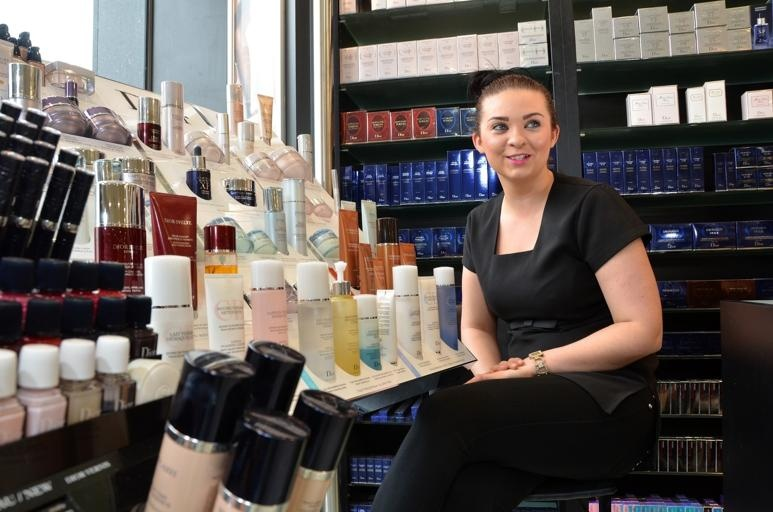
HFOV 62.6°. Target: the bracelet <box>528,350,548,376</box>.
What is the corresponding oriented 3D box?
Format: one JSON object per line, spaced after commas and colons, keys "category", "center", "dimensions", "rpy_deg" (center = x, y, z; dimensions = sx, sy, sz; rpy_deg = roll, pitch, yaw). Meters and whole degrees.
{"category": "bracelet", "center": [0.371, 0.267, 1.594], "dimensions": [0.034, 0.054, 0.055], "rpy_deg": [-11, -16, 0]}
